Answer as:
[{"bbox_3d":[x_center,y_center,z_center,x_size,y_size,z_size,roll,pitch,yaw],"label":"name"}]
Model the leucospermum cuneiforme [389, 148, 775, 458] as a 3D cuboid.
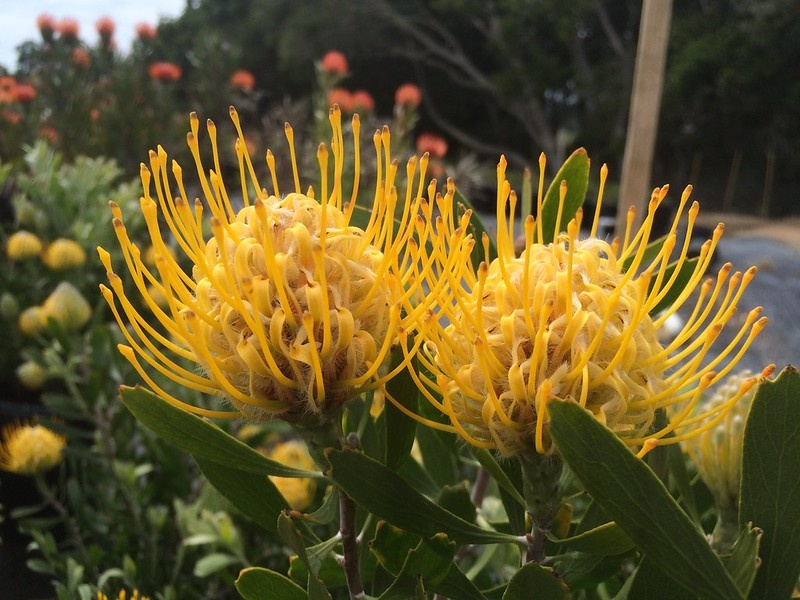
[{"bbox_3d":[0.156,0.019,0.781,0.329,0.318,0.283,1,15,3],"label":"leucospermum cuneiforme"}]
